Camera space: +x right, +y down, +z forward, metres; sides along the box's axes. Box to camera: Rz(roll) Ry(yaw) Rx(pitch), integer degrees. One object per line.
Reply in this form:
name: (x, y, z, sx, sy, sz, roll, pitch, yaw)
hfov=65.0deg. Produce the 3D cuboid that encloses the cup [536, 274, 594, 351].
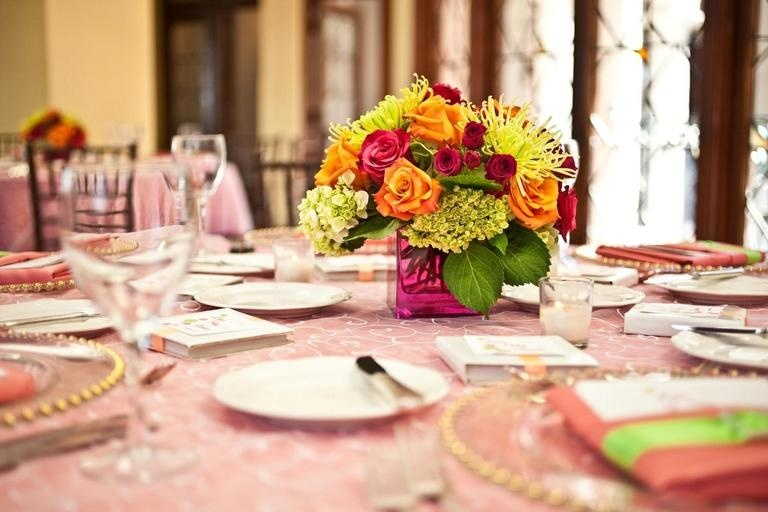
cup: (0.295, 0.085, 0.988, 0.107, 0.122, 0.107, -4, 13, 1)

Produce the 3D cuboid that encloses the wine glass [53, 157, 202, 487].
wine glass: (-0.289, 0.039, 0.724, 0.126, 0.297, 0.390, -5, 10, -18)

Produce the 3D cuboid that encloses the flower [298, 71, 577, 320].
flower: (0.072, -0.118, 1.243, 0.472, 0.405, 0.464, -2, -1, -23)

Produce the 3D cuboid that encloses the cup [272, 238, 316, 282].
cup: (-0.211, 0.020, 1.395, 0.108, 0.120, 0.107, 2, 0, 0)
